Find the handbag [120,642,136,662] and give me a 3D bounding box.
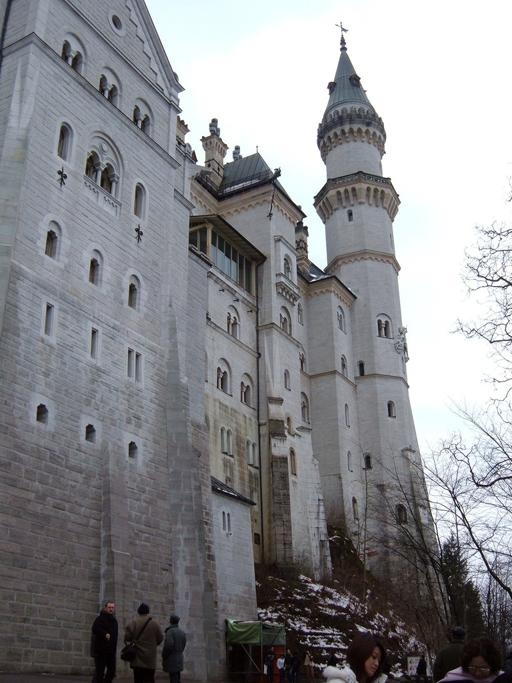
[{"bbox_3d":[-2.018,4.889,9.533,0.180,0.291,0.445,6,-24,-20],"label":"handbag"}]
